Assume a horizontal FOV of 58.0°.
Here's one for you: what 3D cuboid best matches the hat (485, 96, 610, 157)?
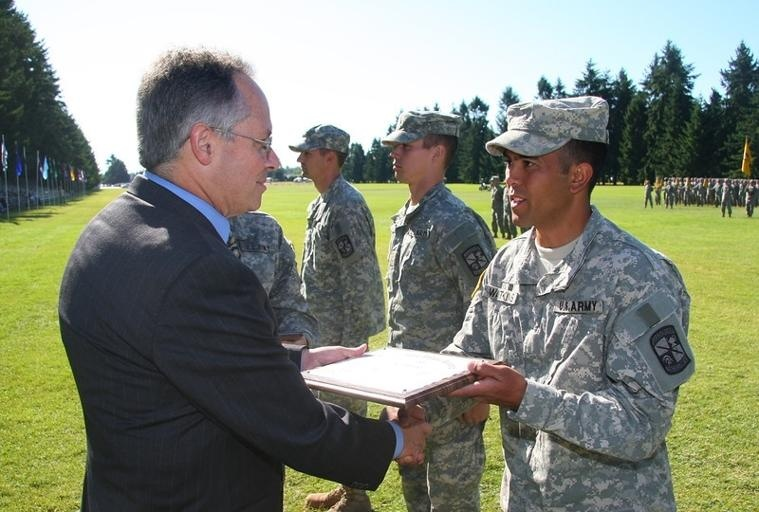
[{"bbox_3d":[1.116,-0.877,4.584,0.845,0.322,0.579,-9,13,-13],"label":"hat"}]
